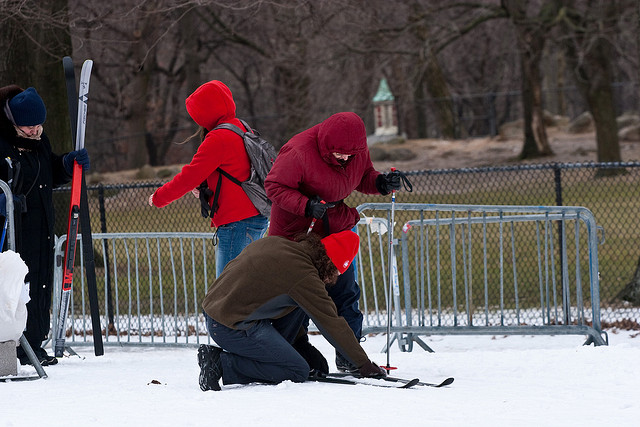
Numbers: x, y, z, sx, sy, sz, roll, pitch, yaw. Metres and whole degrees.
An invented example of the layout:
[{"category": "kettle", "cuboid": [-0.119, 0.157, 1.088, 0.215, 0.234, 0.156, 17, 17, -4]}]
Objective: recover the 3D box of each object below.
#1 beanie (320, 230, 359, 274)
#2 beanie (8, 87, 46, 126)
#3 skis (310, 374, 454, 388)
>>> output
[{"category": "beanie", "cuboid": [0.278, 0.485, 16.924, 0.414, 0.406, 0.592, -21, 4, -3]}, {"category": "beanie", "cuboid": [-4.093, -1.518, 17.428, 0.536, 0.466, 0.393, -9, -1, 26]}, {"category": "skis", "cuboid": [0.735, 2.301, 16.815, 1.100, 0.125, 0.222, 0, -4, 21]}]
